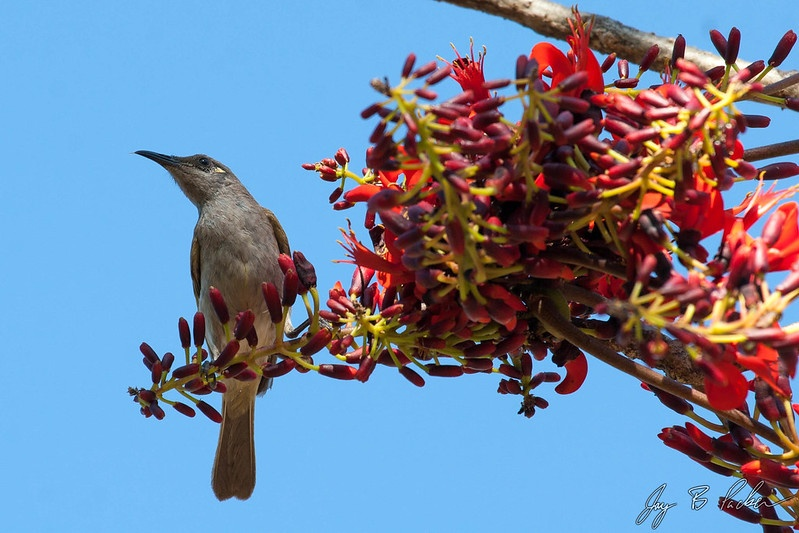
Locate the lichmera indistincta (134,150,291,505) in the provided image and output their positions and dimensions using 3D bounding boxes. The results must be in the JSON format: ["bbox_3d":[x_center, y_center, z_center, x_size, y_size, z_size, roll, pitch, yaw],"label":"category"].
[{"bbox_3d":[-0.628,0.233,5.045,0.518,0.894,1.503,-1,-85,-9],"label":"lichmera indistincta"}]
